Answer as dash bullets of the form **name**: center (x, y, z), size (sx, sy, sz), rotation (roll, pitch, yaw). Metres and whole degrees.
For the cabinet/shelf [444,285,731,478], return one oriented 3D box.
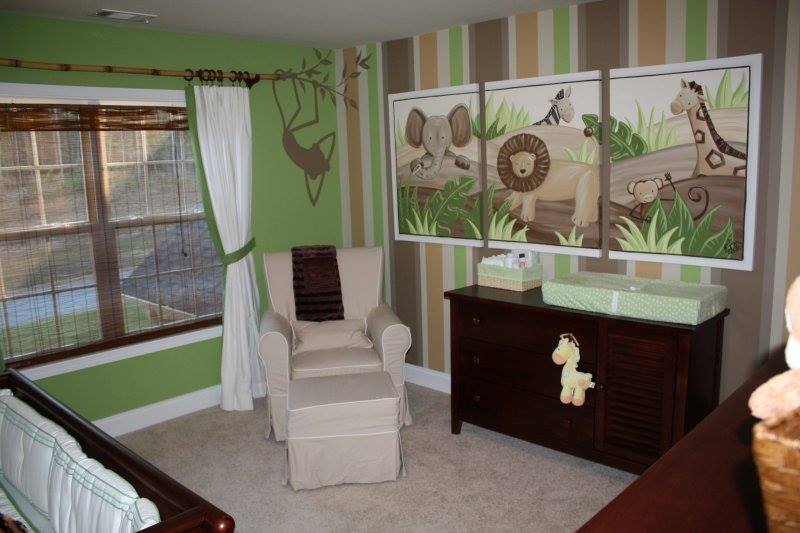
- **cabinet/shelf**: center (1.206, 0.767, 4.017), size (1.645, 1.112, 0.669), rotation (7, 14, 37)

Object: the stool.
- **stool**: center (-0.363, 1.073, 3.911), size (0.908, 0.622, 0.712), rotation (-8, 15, -8)

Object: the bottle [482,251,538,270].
- **bottle**: center (0.874, -0.044, 4.296), size (0.221, 0.091, 0.213), rotation (-1, 4, 0)

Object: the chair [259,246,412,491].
- **chair**: center (-0.529, 0.636, 4.314), size (1.055, 1.322, 1.564), rotation (-3, 13, -12)
